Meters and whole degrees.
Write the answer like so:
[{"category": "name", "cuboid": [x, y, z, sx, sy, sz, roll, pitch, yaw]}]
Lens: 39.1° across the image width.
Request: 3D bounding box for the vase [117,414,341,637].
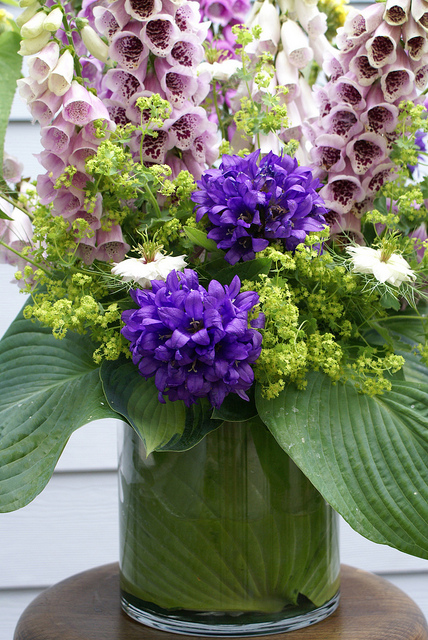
[{"category": "vase", "cuboid": [0.020, 0.147, 0.538, 0.192, 0.192, 0.182, 0, -6, -11]}]
